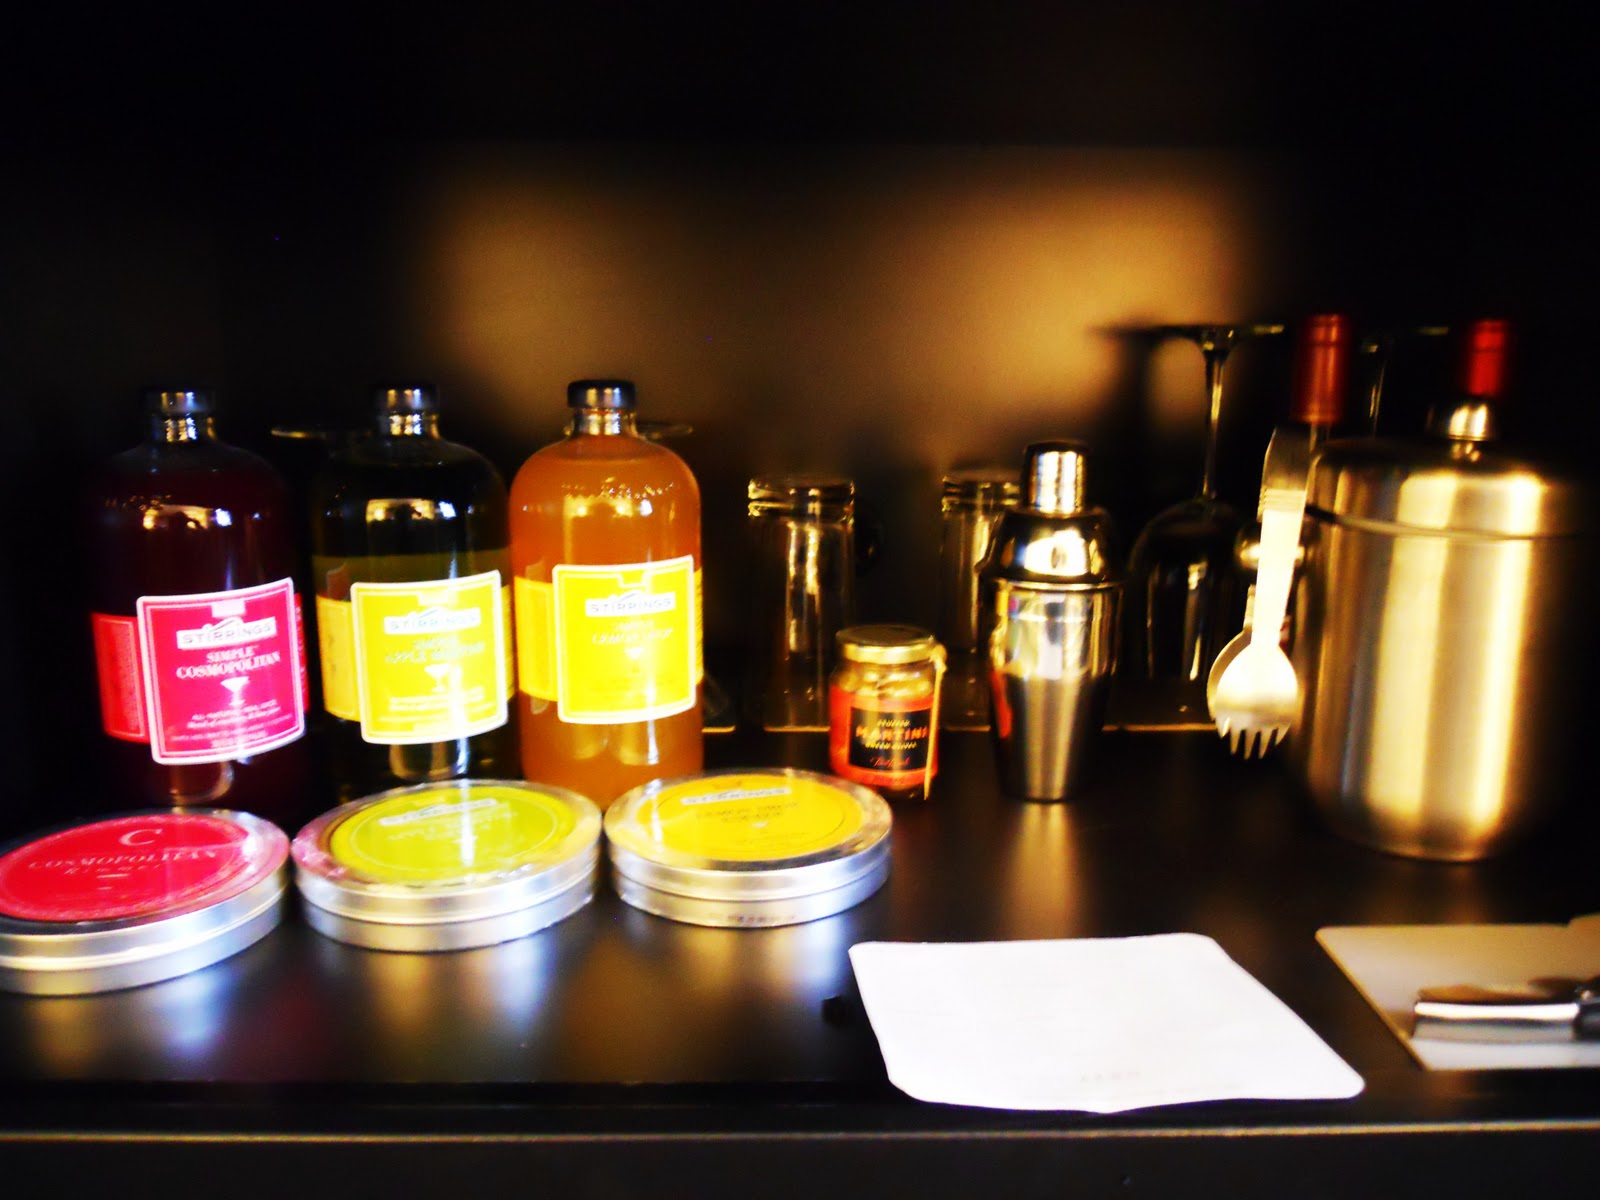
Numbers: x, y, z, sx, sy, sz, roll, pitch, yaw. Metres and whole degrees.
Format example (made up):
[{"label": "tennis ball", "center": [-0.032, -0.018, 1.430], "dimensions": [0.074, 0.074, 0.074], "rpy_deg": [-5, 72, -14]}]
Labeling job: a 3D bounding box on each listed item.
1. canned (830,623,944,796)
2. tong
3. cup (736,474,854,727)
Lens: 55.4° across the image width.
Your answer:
[{"label": "canned", "center": [0.072, 0.092, 1.273], "dimensions": [0.114, 0.123, 0.091], "rpy_deg": [5, 12, 10]}, {"label": "tong", "center": [0.381, -0.008, 1.234], "dimensions": [0.080, 0.271, 0.053], "rpy_deg": [10, 16, 28]}, {"label": "cup", "center": [0.002, -0.003, 1.413], "dimensions": [0.111, 0.222, 0.134], "rpy_deg": [-3, 14, 1]}]
